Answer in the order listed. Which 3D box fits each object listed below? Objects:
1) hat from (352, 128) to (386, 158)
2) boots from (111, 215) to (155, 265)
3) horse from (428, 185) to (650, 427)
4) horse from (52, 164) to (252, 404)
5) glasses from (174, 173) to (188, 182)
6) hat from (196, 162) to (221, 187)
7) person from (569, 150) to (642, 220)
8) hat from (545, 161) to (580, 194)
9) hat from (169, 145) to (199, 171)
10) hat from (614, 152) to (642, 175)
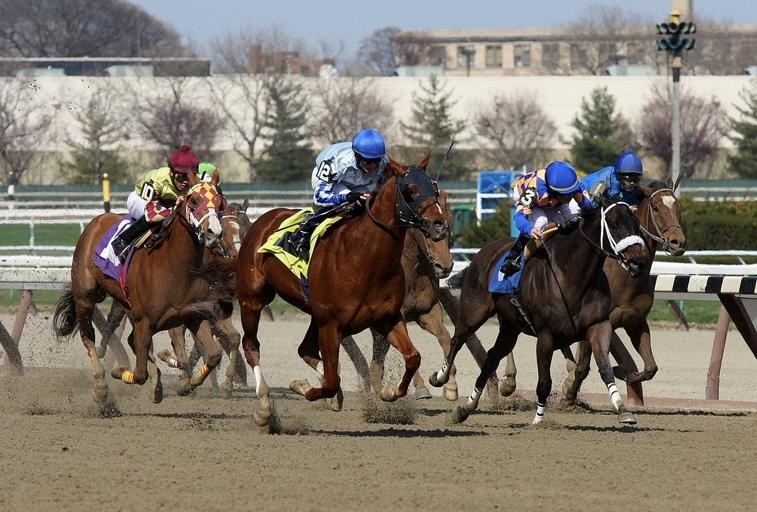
[{"bbox_3d":[-0.211,-1.741,23.067,0.362,0.252,0.478,-3,30,-24],"label":"hat"},{"bbox_3d":[-3.952,-0.295,24.310,0.777,0.262,0.582,-50,30,-15],"label":"boots"},{"bbox_3d":[2.426,1.017,24.348,1.332,3.611,5.513,1,-3,-27],"label":"horse"},{"bbox_3d":[-3.587,0.468,24.706,2.822,3.783,1.714,2,10,10],"label":"horse"},{"bbox_3d":[-3.141,-1.266,24.319,0.135,0.146,0.043,1,8,4],"label":"glasses"},{"bbox_3d":[-2.699,-1.330,24.271,0.289,0.271,0.426,-2,25,-10],"label":"hat"},{"bbox_3d":[3.625,-1.168,24.543,0.810,0.909,1.356,-17,13,-38],"label":"person"},{"bbox_3d":[2.789,-1.185,23.625,0.404,0.530,0.311,-40,-20,-3],"label":"hat"},{"bbox_3d":[-3.133,-1.514,24.401,0.440,0.317,0.447,-16,60,-21],"label":"hat"},{"bbox_3d":[3.900,-1.519,24.148,0.292,0.294,0.419,1,38,-13],"label":"hat"}]
